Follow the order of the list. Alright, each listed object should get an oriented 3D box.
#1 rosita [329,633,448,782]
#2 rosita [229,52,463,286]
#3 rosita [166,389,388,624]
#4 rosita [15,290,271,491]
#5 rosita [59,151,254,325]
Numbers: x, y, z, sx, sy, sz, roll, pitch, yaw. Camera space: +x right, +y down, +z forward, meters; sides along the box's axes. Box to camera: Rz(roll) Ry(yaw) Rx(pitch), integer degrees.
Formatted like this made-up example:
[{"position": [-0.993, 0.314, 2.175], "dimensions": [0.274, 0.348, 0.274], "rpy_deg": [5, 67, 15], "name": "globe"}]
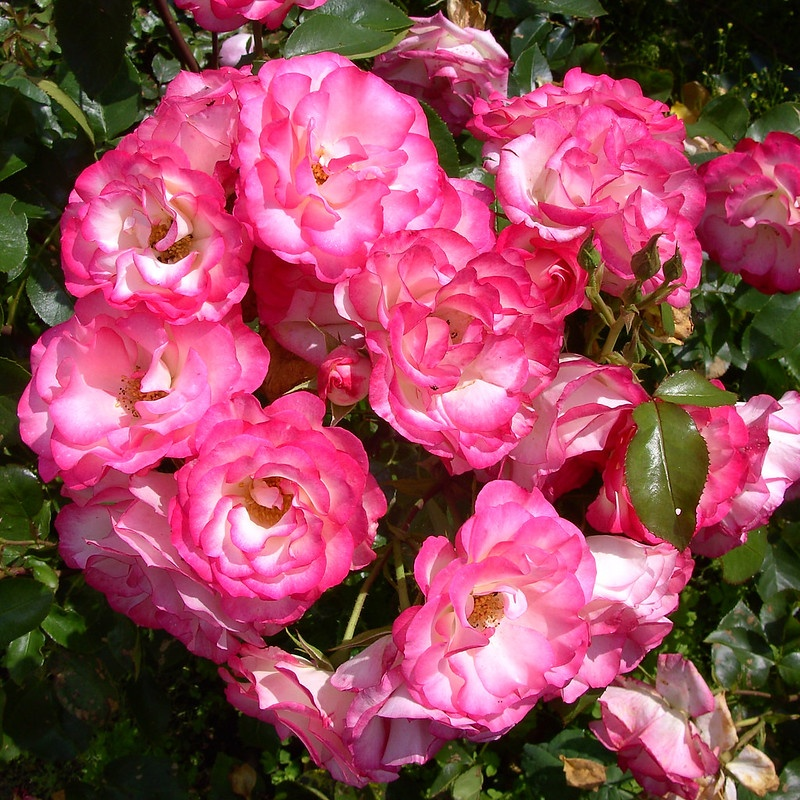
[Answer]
[{"position": [0.001, 0.413, 1.064], "dimensions": [0.110, 0.176, 0.187], "rpy_deg": [13, 20, -8], "name": "rosita"}, {"position": [-0.109, -0.325, 1.063], "dimensions": [0.326, 0.142, 0.287], "rpy_deg": [20, 83, -22], "name": "rosita"}, {"position": [-0.159, 0.137, 0.982], "dimensions": [0.240, 0.202, 0.239], "rpy_deg": [-3, 56, -7], "name": "rosita"}, {"position": [-0.331, -0.008, 1.088], "dimensions": [0.302, 0.128, 0.259], "rpy_deg": [22, 89, 1], "name": "rosita"}, {"position": [-0.267, -0.218, 1.042], "dimensions": [0.241, 0.235, 0.094], "rpy_deg": [22, 73, -10], "name": "rosita"}]
